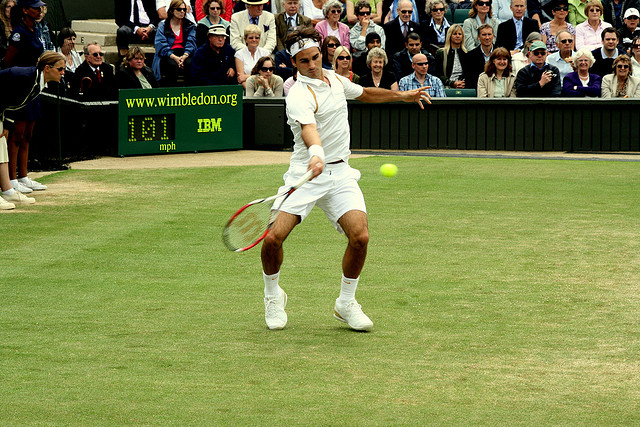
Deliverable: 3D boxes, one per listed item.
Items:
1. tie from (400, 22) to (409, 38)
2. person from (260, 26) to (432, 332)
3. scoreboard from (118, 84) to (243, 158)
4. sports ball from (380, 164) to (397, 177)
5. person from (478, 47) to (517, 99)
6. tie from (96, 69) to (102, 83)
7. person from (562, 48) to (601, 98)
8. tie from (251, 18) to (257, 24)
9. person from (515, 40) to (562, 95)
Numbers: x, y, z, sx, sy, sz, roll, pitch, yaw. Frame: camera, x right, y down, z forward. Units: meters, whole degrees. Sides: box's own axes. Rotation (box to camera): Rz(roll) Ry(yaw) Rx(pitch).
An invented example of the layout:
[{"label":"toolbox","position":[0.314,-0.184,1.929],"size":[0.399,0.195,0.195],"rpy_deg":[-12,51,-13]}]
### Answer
[{"label":"tie","position":[1.632,-3.577,24.469],"size":[0.225,0.011,0.476],"rpy_deg":[4,44,1]},{"label":"person","position":[0.074,-0.382,13.505],"size":[1.579,3.256,1.019],"rpy_deg":[-6,9,-22]},{"label":"scoreboard","position":[-2.500,-1.676,22.733],"size":[2.510,1.223,0.393],"rpy_deg":[-7,10,-36]},{"label":"sports ball","position":[0.820,-0.512,15.156],"size":[0.160,0.106,0.157],"rpy_deg":[1,3,0]},{"label":"person","position":[3.224,-2.586,23.055],"size":[0.707,0.904,0.582],"rpy_deg":[-1,8,7]},{"label":"tie","position":[-3.904,-2.448,22.355],"size":[0.054,0.191,0.204],"rpy_deg":[-18,22,-3]},{"label":"person","position":[4.812,-2.615,23.242],"size":[0.769,0.889,0.611],"rpy_deg":[-5,9,-16]},{"label":"tie","position":[-1.288,-3.791,24.631],"size":[0.032,0.083,0.069],"rpy_deg":[-1,7,-42]},{"label":"person","position":[4.007,-2.380,23.121],"size":[0.961,1.535,0.611],"rpy_deg":[-2,3,6]}]
